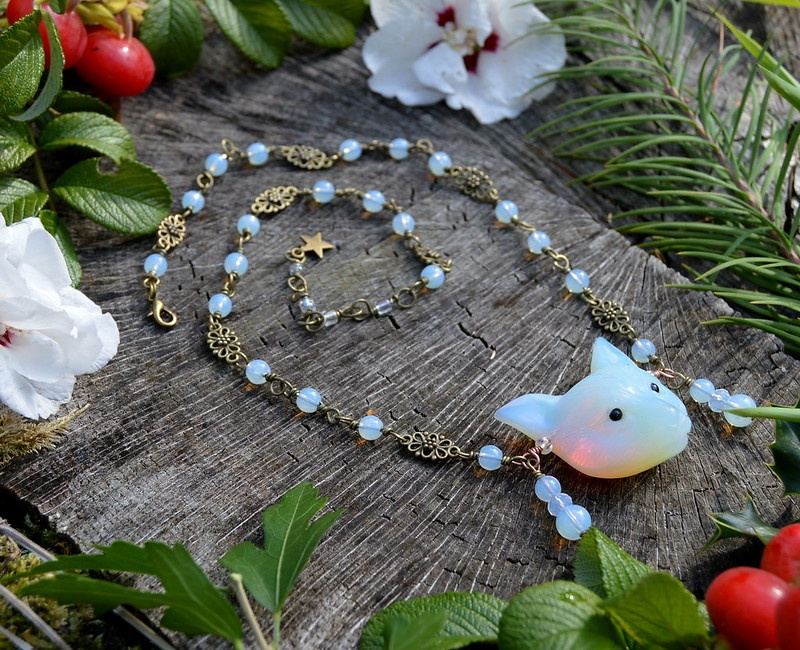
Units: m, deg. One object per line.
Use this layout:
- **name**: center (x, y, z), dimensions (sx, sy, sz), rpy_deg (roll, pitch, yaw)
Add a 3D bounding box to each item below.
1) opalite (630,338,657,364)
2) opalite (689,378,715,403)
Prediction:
- **opalite**: center (0.594, 0.065, 1.934), dimensions (0.064, 0.063, 0.059), rpy_deg (-5, 96, -39)
- **opalite**: center (0.697, 0.162, 1.832), dimensions (0.060, 0.031, 0.055), rpy_deg (-10, 87, 16)
